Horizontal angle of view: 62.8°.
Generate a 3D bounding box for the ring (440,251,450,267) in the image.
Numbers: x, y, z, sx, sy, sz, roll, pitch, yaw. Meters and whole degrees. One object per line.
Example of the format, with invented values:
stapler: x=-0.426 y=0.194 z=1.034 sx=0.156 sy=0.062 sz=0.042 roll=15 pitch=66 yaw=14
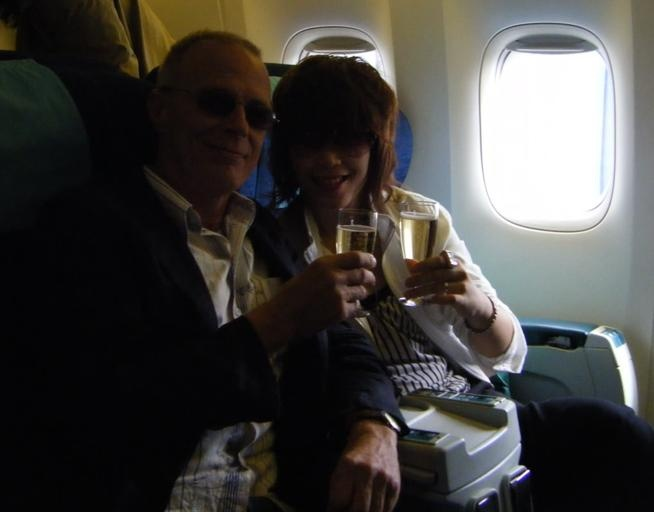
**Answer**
ring: x=0.342 y=0.007 z=1.560 sx=0.008 sy=0.039 sz=0.036 roll=-17 pitch=-13 yaw=5
